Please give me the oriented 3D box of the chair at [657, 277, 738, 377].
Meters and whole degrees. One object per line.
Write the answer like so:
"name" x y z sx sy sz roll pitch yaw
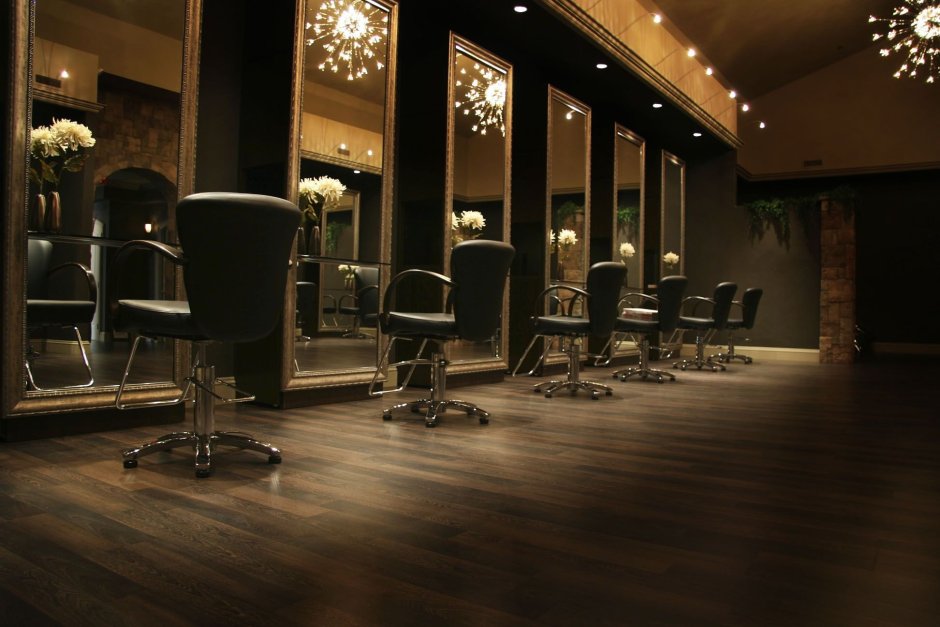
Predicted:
"chair" 2.901 0.140 8.391 0.716 1.124 0.817 1 2 37

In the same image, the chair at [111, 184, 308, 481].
"chair" -1.397 0.090 3.557 0.884 1.404 0.785 2 2 30

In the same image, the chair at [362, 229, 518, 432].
"chair" -0.214 0.128 4.692 0.908 1.293 0.822 3 4 18

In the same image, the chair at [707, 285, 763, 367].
"chair" 3.606 0.148 9.060 0.634 1.030 0.615 1 -3 37
